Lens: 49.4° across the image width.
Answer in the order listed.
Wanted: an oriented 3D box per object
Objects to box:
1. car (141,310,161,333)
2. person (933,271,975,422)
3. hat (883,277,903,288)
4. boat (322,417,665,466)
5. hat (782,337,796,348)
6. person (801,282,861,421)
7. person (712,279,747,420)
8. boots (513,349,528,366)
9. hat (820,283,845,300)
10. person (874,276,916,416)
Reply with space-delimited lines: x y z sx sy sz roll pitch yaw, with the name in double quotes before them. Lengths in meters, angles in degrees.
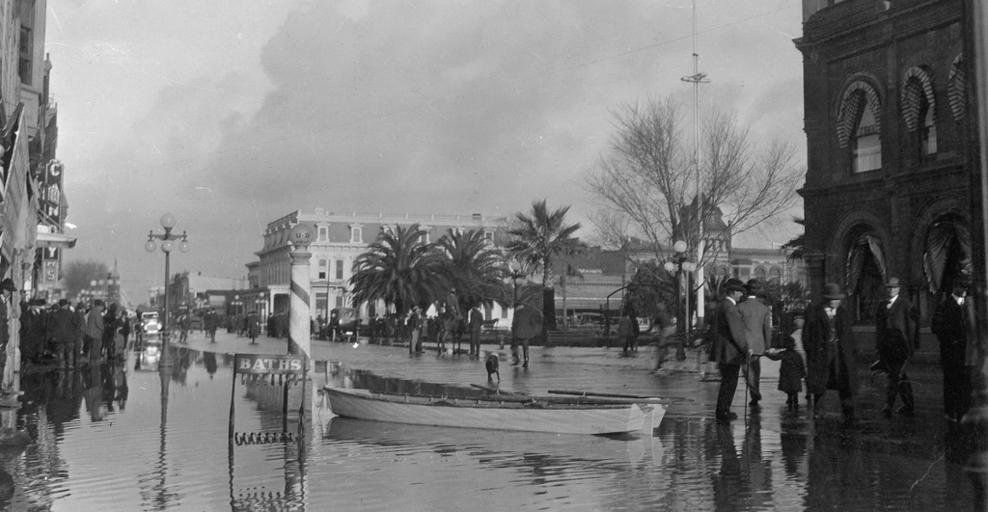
"car" -19.463 3.631 61.281 1.443 1.365 2.492 1 -8 -21
"person" 11.316 2.212 26.294 0.772 3.560 1.369 -2 -8 15
"hat" 10.429 0.686 27.680 0.421 0.160 0.415 6 -7 -28
"boat" -0.016 4.404 25.563 7.900 0.951 2.143 -1 -9 6
"hat" 7.880 2.291 28.411 0.213 0.276 0.270 -9 13 14
"person" 8.629 2.424 27.417 1.339 3.545 0.762 0 -8 4
"person" 6.023 2.328 27.254 0.883 3.684 0.857 -1 -8 10
"boots" 1.084 3.775 39.844 0.521 0.666 0.677 2 -12 -6
"hat" 9.512 0.985 29.960 0.546 0.327 0.638 -3 -6 -15
"person" 10.393 2.283 27.589 1.019 3.533 0.927 -2 -8 20
